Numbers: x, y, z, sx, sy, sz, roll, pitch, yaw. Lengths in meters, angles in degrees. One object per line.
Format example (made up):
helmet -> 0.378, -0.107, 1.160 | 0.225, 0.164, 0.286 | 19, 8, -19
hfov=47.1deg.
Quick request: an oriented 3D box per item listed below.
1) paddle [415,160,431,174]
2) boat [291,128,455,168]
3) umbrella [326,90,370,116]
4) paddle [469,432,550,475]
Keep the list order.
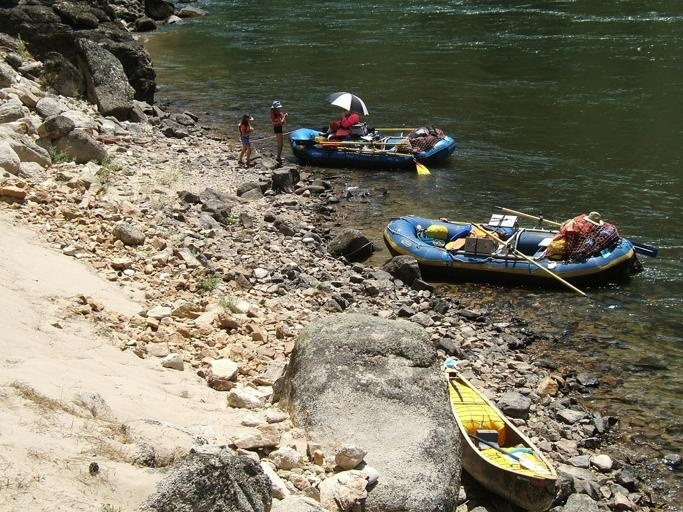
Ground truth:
paddle -> 2.808, -3.108, 27.351 | 0.625, 0.353, 0.276 | 33, 86, 36
boat -> 0.988, -3.665, 27.911 | 5.482, 0.740, 1.854 | 3, 24, 5
umbrella -> 0.177, -5.439, 27.785 | 1.629, 0.388, 1.310 | 7, 14, -28
paddle -> 3.244, 3.650, 14.692 | 0.454, 0.136, 1.436 | -6, 15, -36
